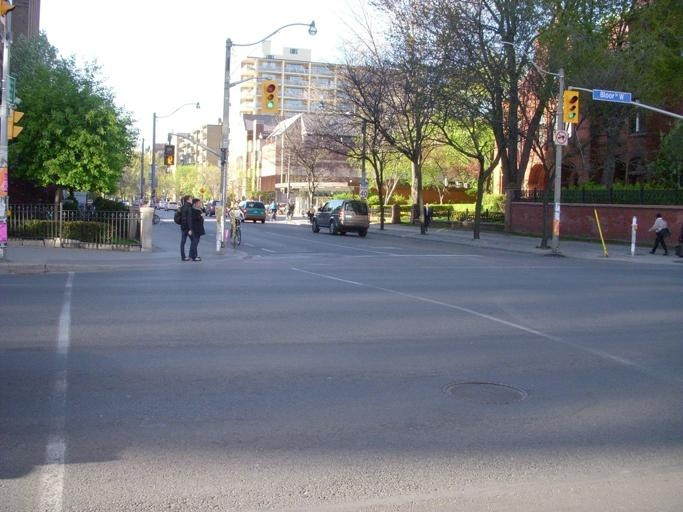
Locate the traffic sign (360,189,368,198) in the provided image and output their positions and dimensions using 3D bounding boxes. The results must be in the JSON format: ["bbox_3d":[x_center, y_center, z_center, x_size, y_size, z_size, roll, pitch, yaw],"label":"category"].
[{"bbox_3d":[1.458,-4.478,55.885,0.128,0.638,0.581,5,13,26],"label":"traffic sign"}]

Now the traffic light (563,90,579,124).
[{"bbox_3d":[9.078,-6.003,31.057,0.598,1.273,1.107,2,4,12],"label":"traffic light"}]

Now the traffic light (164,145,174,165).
[{"bbox_3d":[-11.006,-6.512,49.947,0.540,1.274,2.207,0,5,-15],"label":"traffic light"}]
